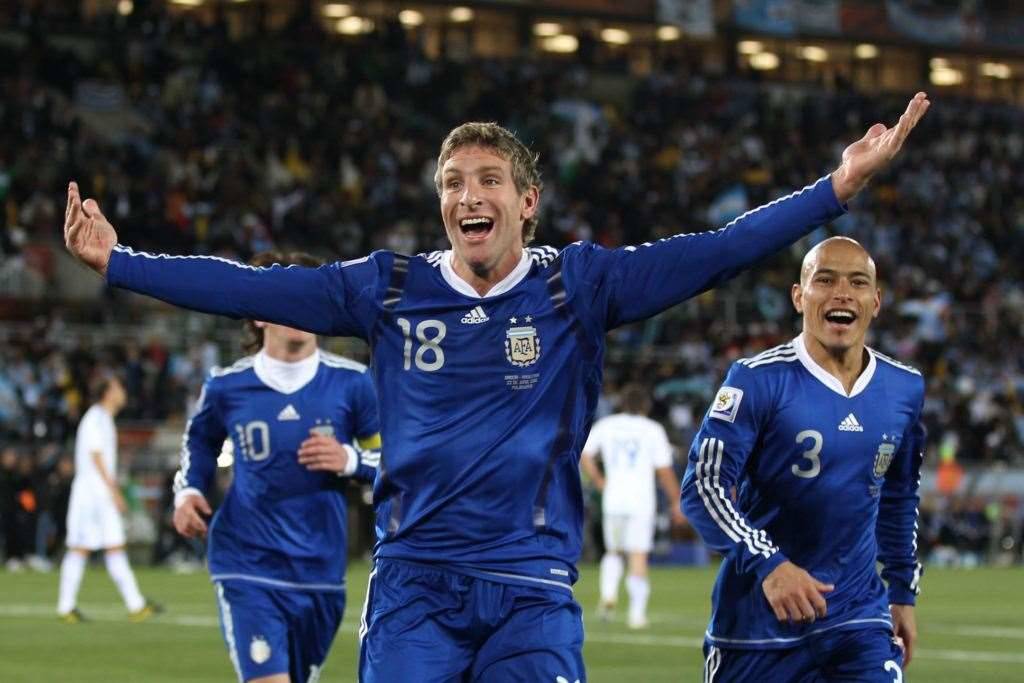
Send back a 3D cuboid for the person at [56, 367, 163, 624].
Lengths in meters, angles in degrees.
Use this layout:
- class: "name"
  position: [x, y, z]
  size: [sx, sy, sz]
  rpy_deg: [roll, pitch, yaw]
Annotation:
- class: "person"
  position: [-5.576, 2.153, 25.350]
  size: [1.318, 3.133, 0.947]
  rpy_deg: [9, -48, -21]
